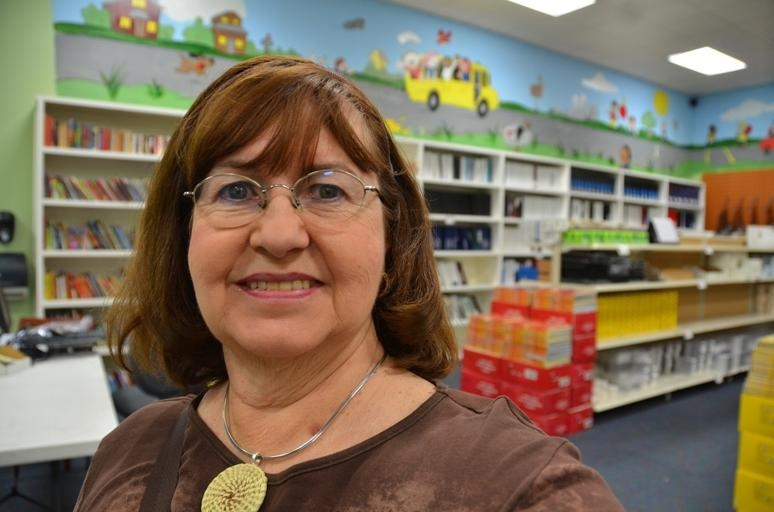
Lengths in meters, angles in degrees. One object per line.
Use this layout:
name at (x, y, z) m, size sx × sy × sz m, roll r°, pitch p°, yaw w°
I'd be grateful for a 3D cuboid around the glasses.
glasses at (-0.297, -0.169, 1.638) m, size 0.517 × 0.163 × 0.091 m, roll -1°, pitch 4°, yaw 7°
